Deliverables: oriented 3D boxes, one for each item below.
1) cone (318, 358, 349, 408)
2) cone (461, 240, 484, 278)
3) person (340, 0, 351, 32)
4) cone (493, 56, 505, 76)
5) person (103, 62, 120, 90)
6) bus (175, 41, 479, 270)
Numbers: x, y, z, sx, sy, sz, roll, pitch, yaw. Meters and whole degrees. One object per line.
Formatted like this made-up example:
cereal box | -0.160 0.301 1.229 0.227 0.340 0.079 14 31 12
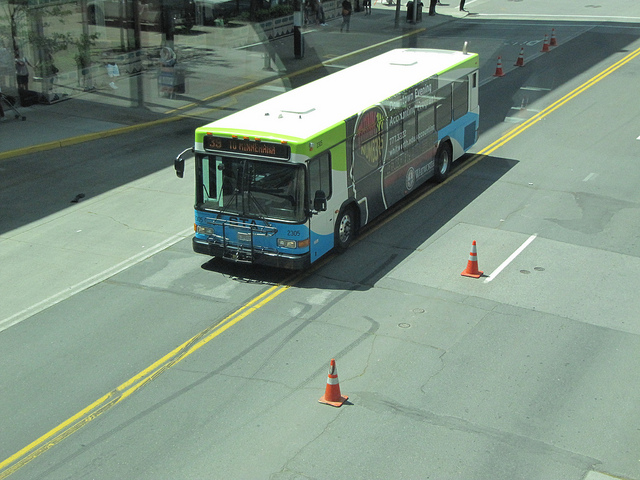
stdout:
cone | 0.256 2.560 14.068 0.689 0.707 0.648 -1 6 1
cone | 3.541 0.342 17.974 0.464 0.943 0.473 8 28 22
person | 1.439 -13.076 45.186 0.601 1.708 0.982 -4 26 1
cone | 7.920 -7.718 34.341 0.497 0.719 1.017 5 26 19
person | -9.201 -7.345 34.570 0.512 0.962 1.387 -10 26 -13
bus | 0.904 -3.132 21.488 4.014 3.749 11.063 14 29 30
